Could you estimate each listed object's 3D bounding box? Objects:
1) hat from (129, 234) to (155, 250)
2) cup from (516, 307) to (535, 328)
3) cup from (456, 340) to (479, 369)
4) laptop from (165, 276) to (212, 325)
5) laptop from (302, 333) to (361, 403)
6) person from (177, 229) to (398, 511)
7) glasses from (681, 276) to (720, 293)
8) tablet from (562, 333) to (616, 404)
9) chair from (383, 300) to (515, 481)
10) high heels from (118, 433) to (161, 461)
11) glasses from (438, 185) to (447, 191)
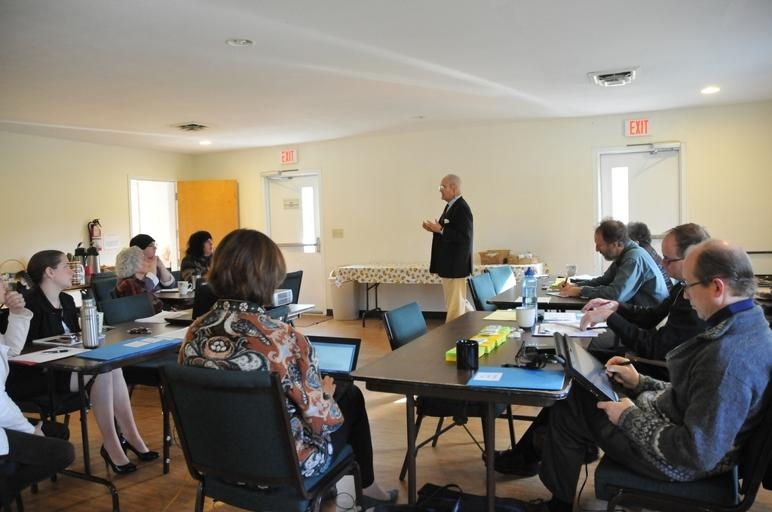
[{"bbox_3d":[-2.791,-0.167,6.226,0.219,0.170,0.213,5,-1,-41],"label":"hat"},{"bbox_3d":[0.918,0.415,3.643,0.134,0.108,0.121,-7,-5,45],"label":"cup"},{"bbox_3d":[0.435,0.531,2.927,0.125,0.135,0.142,0,-2,0],"label":"cup"},{"bbox_3d":[-1.707,0.388,4.703,0.331,0.360,0.431,2,3,14],"label":"laptop"},{"bbox_3d":[-0.367,0.602,3.067,0.373,0.242,0.325,1,6,16],"label":"laptop"},{"bbox_3d":[-0.524,0.743,3.227,1.016,1.698,1.439,1,0,21],"label":"person"},{"bbox_3d":[1.530,0.133,2.641,0.051,0.075,0.163,-6,6,-37],"label":"glasses"},{"bbox_3d":[1.088,0.615,2.949,0.235,0.041,0.399,38,15,-5],"label":"tablet"},{"bbox_3d":[0.454,0.895,3.628,0.839,1.075,0.698,2,4,24],"label":"chair"},{"bbox_3d":[-1.851,1.390,3.987,0.392,0.199,0.130,5,-3,-7],"label":"high heels"},{"bbox_3d":[0.675,-0.796,6.319,0.138,0.062,0.126,0,4,-2],"label":"glasses"}]
